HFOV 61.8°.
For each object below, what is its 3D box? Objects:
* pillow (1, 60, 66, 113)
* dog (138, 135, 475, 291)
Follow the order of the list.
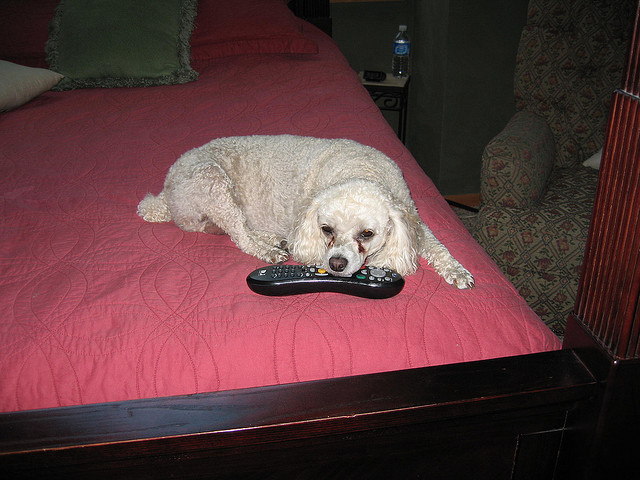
[{"bbox_3d":[-1.415,-0.726,2.567,0.317,0.085,0.303,28,40,4],"label":"pillow"},{"bbox_3d":[-0.028,-0.038,1.740,1.027,0.255,0.451,12,33,16],"label":"dog"}]
